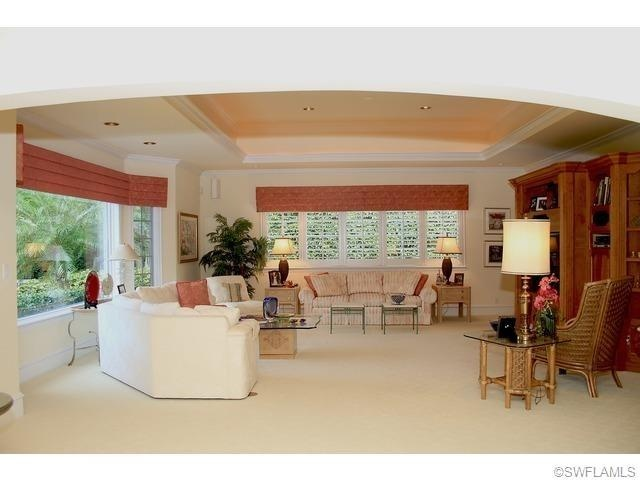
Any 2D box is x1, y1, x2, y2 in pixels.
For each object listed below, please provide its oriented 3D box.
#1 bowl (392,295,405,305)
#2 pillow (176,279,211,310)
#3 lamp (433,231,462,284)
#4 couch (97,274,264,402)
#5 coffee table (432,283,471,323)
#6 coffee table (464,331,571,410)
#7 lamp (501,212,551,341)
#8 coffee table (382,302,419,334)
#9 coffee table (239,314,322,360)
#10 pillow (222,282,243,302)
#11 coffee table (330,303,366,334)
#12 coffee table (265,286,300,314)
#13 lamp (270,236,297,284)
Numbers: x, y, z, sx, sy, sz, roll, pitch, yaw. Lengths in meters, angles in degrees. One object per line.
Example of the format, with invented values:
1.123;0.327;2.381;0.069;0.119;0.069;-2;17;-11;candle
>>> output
1.268;0.969;6.979;0.200;0.109;0.176;1;-9;-5;bowl
-1.805;0.759;6.073;0.521;0.434;0.150;-7;-18;-42;pillow
2.459;0.359;8.042;0.674;0.855;0.583;8;-6;-20;lamp
-1.412;0.834;4.489;1.098;0.767;1.970;0;-1;-37;couch
2.408;1.154;7.996;0.825;0.647;0.745;0;-3;2;coffee table
1.890;1.220;4.321;0.856;0.569;0.820;1;-2;-41;coffee table
1.917;0.374;4.028;0.395;1.145;0.339;1;3;22;lamp
1.330;1.307;7.143;0.630;0.356;0.553;0;-12;2;coffee table
-0.511;1.205;5.482;0.944;0.278;0.687;-1;0;1;coffee table
-1.416;0.849;7.010;0.354;0.264;0.103;6;-21;-42;pillow
0.469;1.304;7.300;0.635;0.436;0.685;0;2;1;coffee table
-0.602;1.048;7.864;0.694;0.771;0.538;-1;-3;-1;coffee table
-0.702;0.383;8.143;0.415;0.868;0.636;-1;3;-7;lamp
